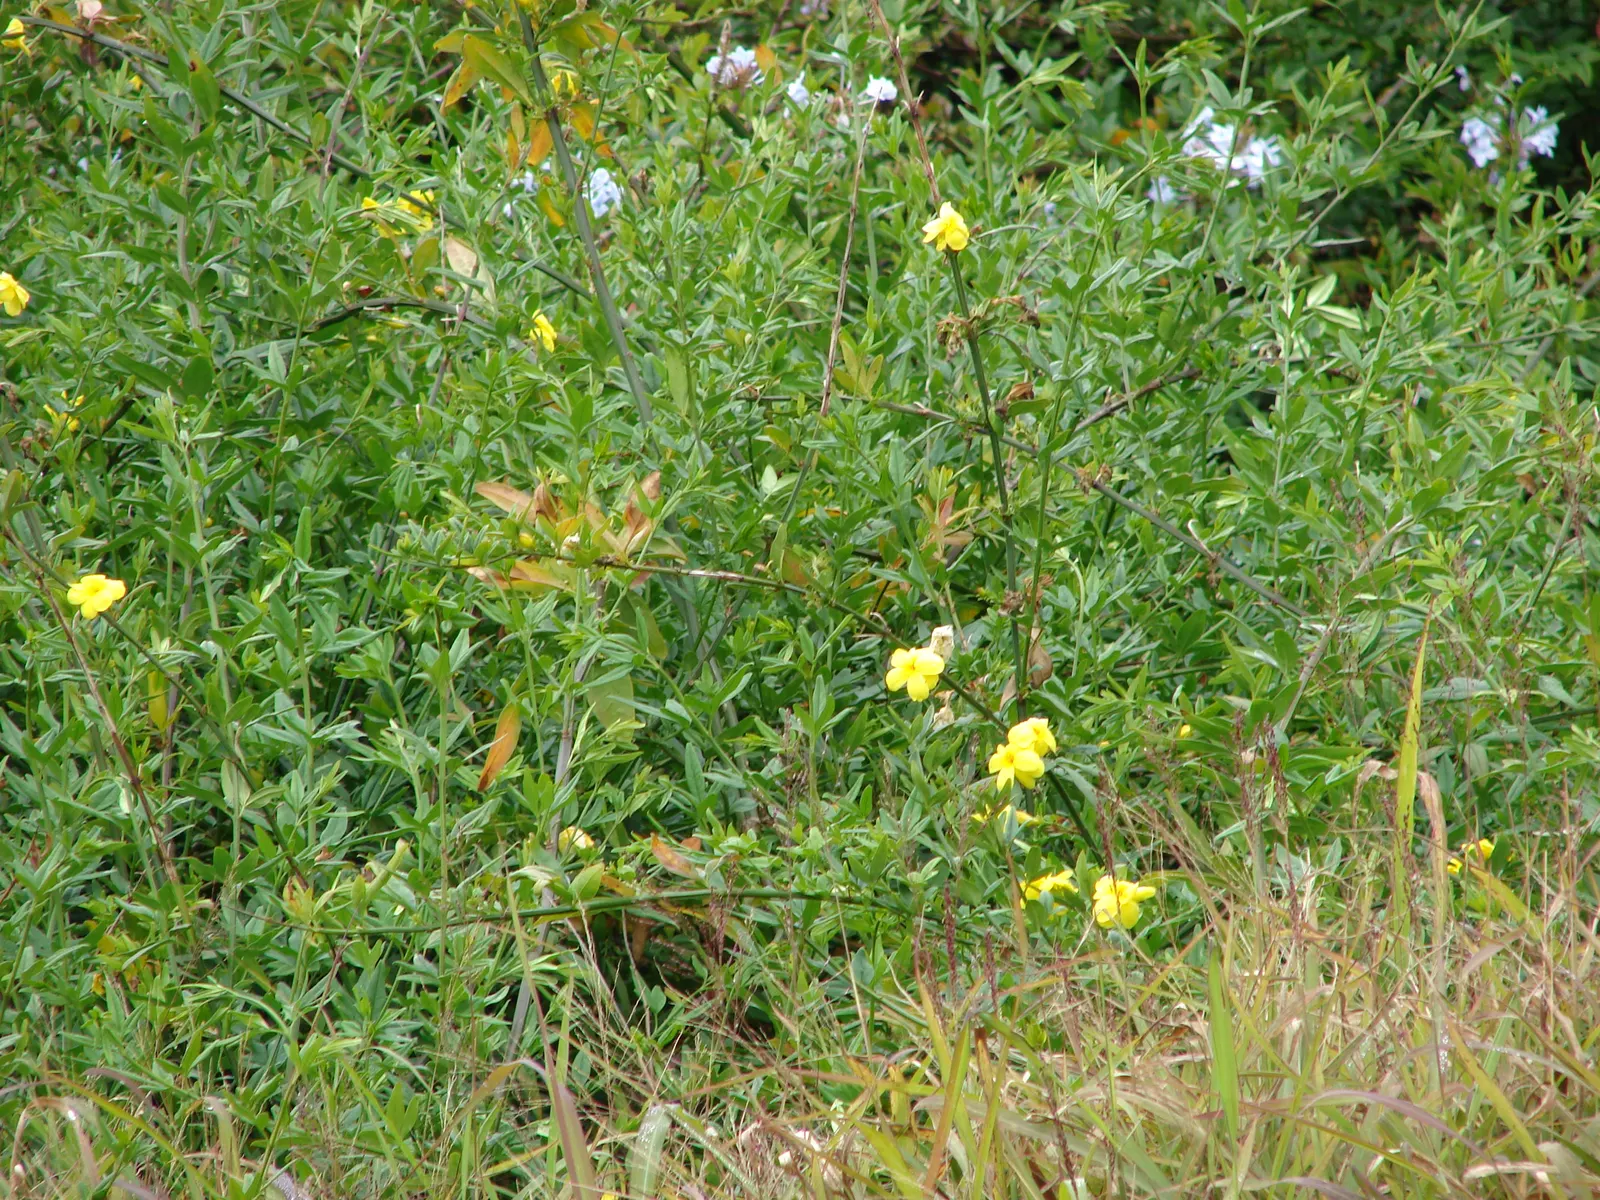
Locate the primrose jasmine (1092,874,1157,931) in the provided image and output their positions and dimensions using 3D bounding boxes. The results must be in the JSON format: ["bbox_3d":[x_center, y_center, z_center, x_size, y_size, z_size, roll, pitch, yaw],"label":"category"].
[{"bbox_3d":[0.460,0.432,3.236,0.088,0.051,0.106,2,90,-9],"label":"primrose jasmine"}]

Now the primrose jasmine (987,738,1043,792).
[{"bbox_3d":[0.314,0.237,3.269,0.065,0.070,0.018,-2,26,25],"label":"primrose jasmine"}]

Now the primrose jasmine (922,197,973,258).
[{"bbox_3d":[0.241,-0.595,3.513,0.040,0.087,0.105,0,73,-44],"label":"primrose jasmine"}]
